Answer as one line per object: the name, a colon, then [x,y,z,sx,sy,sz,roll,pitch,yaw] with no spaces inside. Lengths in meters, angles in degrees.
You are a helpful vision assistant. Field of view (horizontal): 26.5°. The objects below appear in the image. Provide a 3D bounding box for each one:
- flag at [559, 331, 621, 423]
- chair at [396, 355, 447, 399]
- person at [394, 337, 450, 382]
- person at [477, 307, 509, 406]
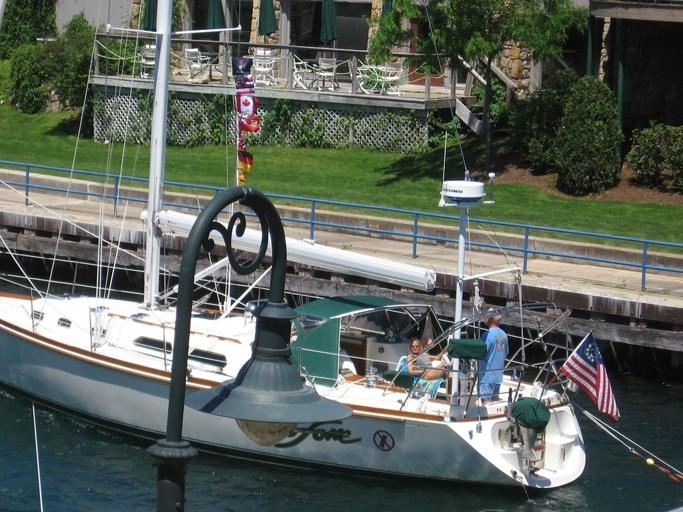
flag: [4.843,2.189,28.855,1.528,1.913,0.126,14,-28,0]
chair: [1.767,2.317,29.487,0.678,1.016,1.489,0,4,-26]
person: [1.677,2.186,29.553,1.014,0.734,0.673,-2,-4,42]
person: [3.062,1.983,29.217,0.544,1.955,1.457,3,8,6]
